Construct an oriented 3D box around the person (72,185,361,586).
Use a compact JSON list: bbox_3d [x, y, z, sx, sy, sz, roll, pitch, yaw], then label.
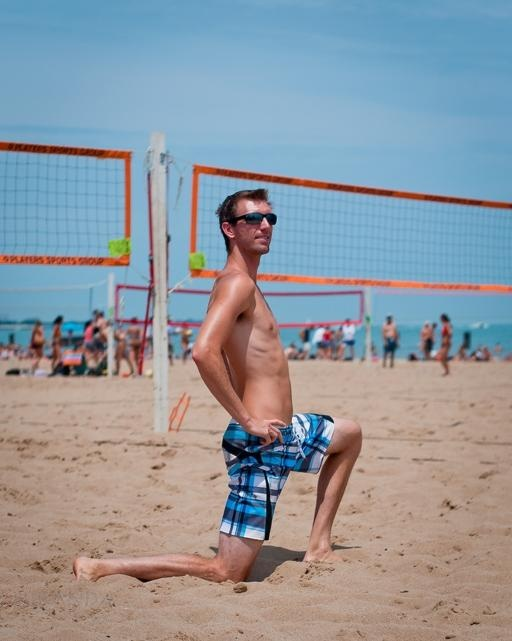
[{"bbox_3d":[-0.057,0.267,4.957,1.092,1.646,0.536,1,1,-32],"label":"person"}]
